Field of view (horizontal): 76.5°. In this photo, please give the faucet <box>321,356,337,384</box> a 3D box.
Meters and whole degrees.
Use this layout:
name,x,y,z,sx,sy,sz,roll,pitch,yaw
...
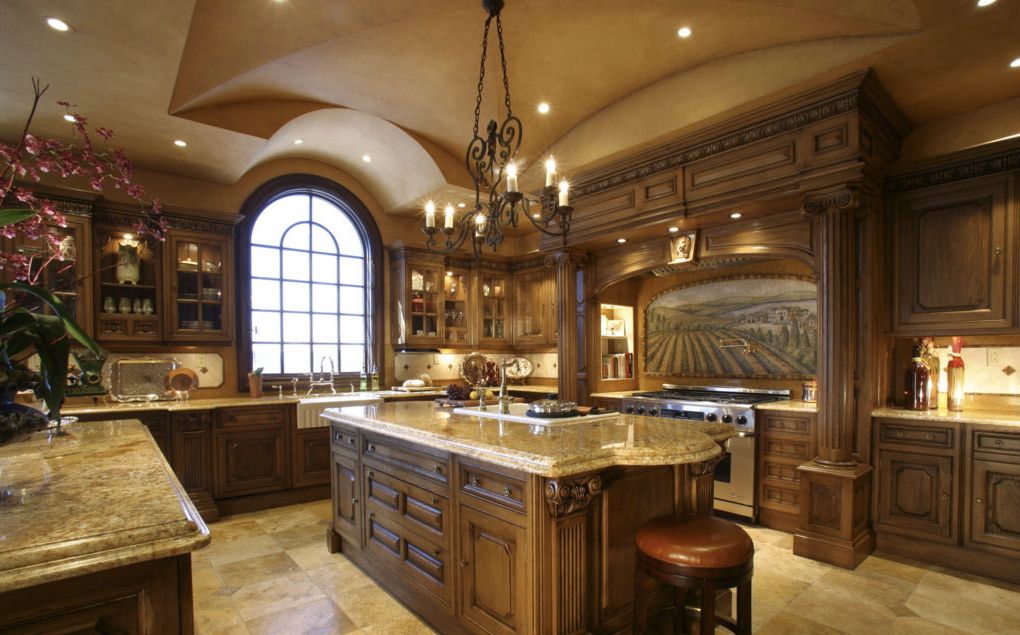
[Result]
name,x,y,z,sx,sy,sz,roll,pitch,yaw
faucet,-2.317,0.695,8.328,0.209,0.328,0.201,0,-3,-30

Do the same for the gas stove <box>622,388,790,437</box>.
name,x,y,z,sx,sy,sz,roll,pitch,yaw
gas stove,2.164,1.046,7.182,1.585,0.400,0.796,-5,-5,41

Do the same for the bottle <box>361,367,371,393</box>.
name,x,y,z,sx,sy,sz,roll,pitch,yaw
bottle,-1.893,0.820,8.465,0.126,0.302,0.434,-1,-4,-14

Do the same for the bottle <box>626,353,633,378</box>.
name,x,y,z,sx,sy,sz,roll,pitch,yaw
bottle,1.523,0.632,8.313,0.032,0.303,0.138,-3,-3,40

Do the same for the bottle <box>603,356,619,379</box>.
name,x,y,z,sx,sy,sz,roll,pitch,yaw
bottle,1.259,0.652,8.170,0.206,0.284,0.135,-1,-3,1

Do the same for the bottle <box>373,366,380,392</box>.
name,x,y,z,sx,sy,sz,roll,pitch,yaw
bottle,-1.770,0.804,8.492,0.108,0.344,0.362,-1,-3,-10

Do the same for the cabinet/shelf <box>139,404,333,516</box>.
name,x,y,z,sx,sy,sz,roll,pitch,yaw
cabinet/shelf,-2.698,1.642,7.487,2.212,1.128,1.085,-7,-13,15

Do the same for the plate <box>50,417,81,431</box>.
name,x,y,z,sx,sy,sz,roll,pitch,yaw
plate,-3.266,0.778,4.729,0.192,0.044,0.194,5,1,16

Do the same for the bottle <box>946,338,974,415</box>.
name,x,y,z,sx,sy,sz,roll,pitch,yaw
bottle,4.216,0.554,6.148,0.163,0.678,0.334,-3,-3,35

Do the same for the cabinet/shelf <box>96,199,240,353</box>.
name,x,y,z,sx,sy,sz,roll,pitch,yaw
cabinet/shelf,-3.794,-0.403,7.037,1.914,1.927,0.622,2,-4,-38

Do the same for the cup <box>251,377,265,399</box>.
name,x,y,z,sx,sy,sz,roll,pitch,yaw
cup,-2.982,0.827,7.582,0.132,0.251,0.229,0,-3,-28
